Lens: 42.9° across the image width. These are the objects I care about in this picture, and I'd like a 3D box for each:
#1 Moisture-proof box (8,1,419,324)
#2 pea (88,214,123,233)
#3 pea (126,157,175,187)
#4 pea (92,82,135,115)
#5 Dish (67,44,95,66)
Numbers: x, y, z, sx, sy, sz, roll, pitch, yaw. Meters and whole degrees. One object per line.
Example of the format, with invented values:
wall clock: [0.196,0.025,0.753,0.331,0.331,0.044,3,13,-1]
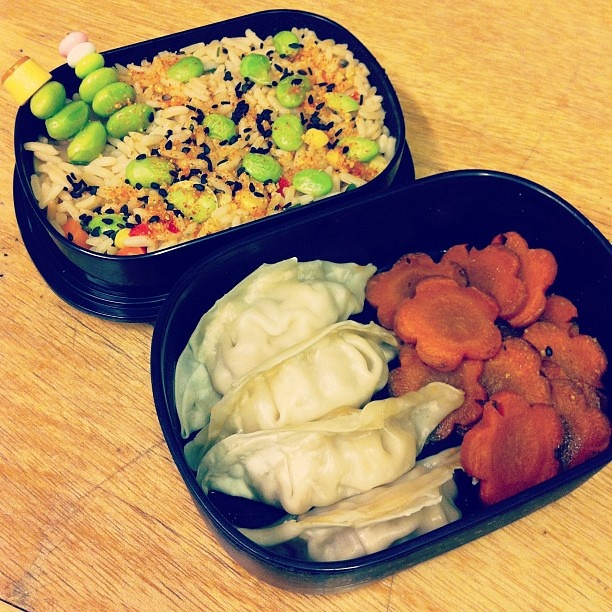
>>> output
Moisture-proof box: [-0.214,-0.243,1.987,1.143,0.249,0.761,-22,74,-3]
pea: [-0.506,-0.206,1.977,0.067,0.035,0.053,-4,51,2]
pea: [-0.398,-0.335,1.988,0.101,0.054,0.068,-2,85,-4]
pea: [-0.506,-0.542,2.054,0.111,0.070,0.061,-36,24,-4]
Dish: [-0.610,-0.679,2.104,0.062,0.075,0.040,-7,73,-26]
